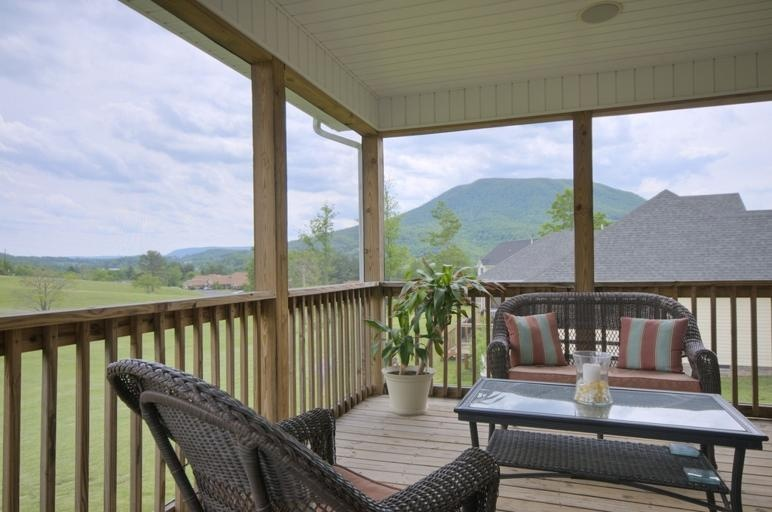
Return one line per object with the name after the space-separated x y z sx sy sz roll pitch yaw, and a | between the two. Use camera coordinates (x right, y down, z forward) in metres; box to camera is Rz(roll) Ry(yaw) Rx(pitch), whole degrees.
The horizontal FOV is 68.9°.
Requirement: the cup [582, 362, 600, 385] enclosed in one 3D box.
1.326 0.766 3.640 0.115 0.128 0.114 -1 -4 0 | cup

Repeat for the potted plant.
0.529 0.786 5.731 1.391 1.624 1.313 1 -5 7 | potted plant

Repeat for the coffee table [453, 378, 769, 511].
1.376 1.015 3.641 1.689 0.566 0.621 -4 -3 14 | coffee table

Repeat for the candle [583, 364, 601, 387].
1.330 0.771 3.638 0.120 0.133 0.118 1 -3 -27 | candle

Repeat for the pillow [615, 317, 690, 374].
2.185 0.741 4.584 0.417 0.379 0.148 0 -24 35 | pillow

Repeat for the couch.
1.774 0.721 4.744 1.632 0.796 0.770 -1 1 20 | couch
